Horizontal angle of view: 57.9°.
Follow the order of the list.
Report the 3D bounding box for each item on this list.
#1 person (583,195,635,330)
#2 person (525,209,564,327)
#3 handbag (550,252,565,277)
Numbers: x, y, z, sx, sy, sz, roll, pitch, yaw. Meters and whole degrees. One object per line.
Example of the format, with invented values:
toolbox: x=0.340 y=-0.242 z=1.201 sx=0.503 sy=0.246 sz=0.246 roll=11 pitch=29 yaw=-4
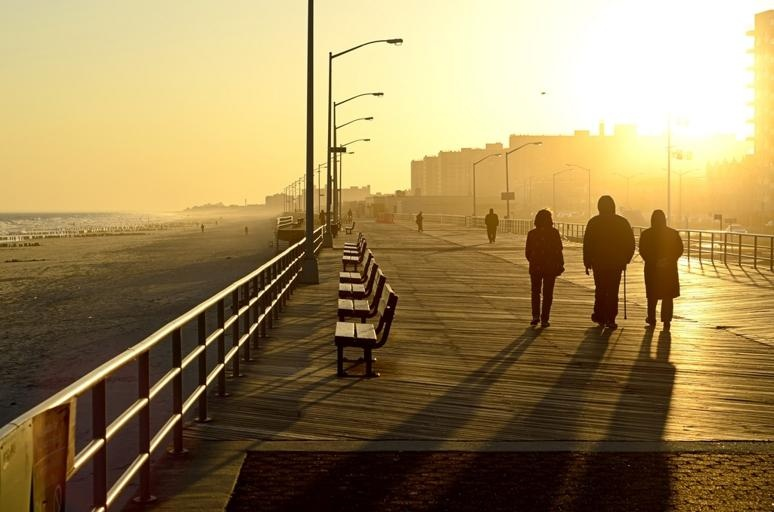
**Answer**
person: x=4.436 y=0.026 z=13.935 sx=0.982 sy=2.466 sz=0.741 roll=-1 pitch=1 yaw=36
person: x=3.197 y=0.223 z=14.350 sx=0.888 sy=2.386 sz=0.803 roll=1 pitch=0 yaw=3
handbag: x=3.450 y=0.163 z=14.027 sx=0.181 sy=0.482 sz=0.469 roll=1 pitch=8 yaw=19
